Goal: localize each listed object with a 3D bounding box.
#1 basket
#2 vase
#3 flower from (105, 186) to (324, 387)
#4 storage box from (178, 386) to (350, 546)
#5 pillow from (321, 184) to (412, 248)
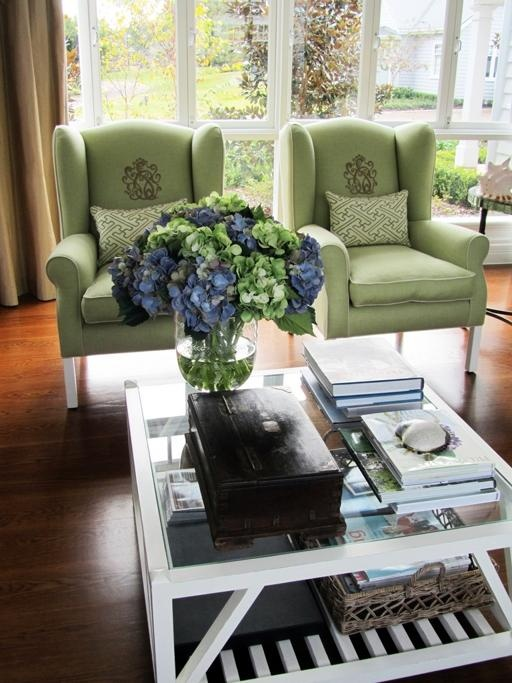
[{"bbox_3d":[0.292,0.397,1.100,0.415,0.201,0.399,-11,34,-14],"label":"basket"},{"bbox_3d":[-0.086,0.015,1.138,0.160,0.139,0.151,0,6,-2],"label":"vase"},{"bbox_3d":[-0.089,-0.087,1.116,0.389,0.360,0.369,-1,25,-29],"label":"flower"},{"bbox_3d":[0.003,0.199,0.922,0.160,0.079,0.253,-4,22,-12],"label":"storage box"},{"bbox_3d":[0.512,-0.592,2.589,0.447,0.281,0.127,-1,8,-10],"label":"pillow"}]
